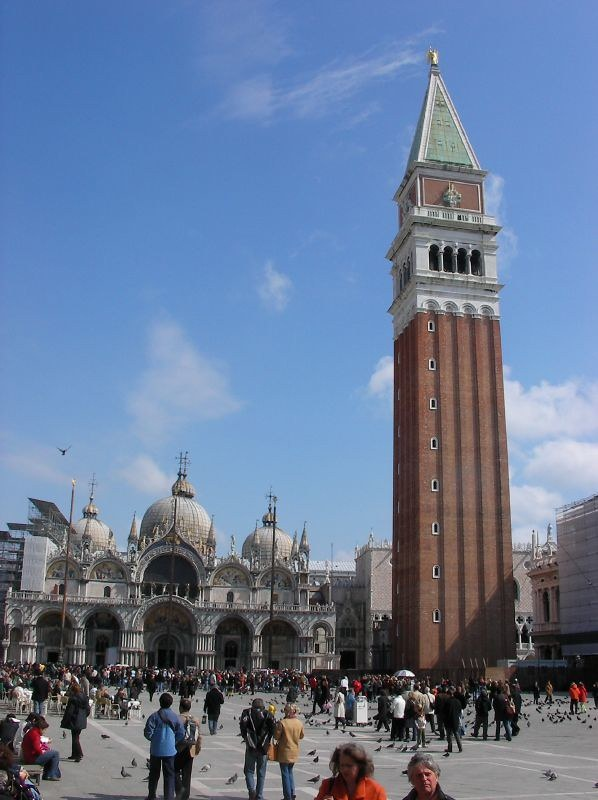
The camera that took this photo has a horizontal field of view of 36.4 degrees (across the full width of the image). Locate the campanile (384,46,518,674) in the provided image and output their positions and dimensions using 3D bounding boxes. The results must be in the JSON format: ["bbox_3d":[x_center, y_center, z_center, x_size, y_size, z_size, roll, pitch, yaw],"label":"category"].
[{"bbox_3d":[10.272,-5.494,64.461,8.063,47.687,5.878,-5,-18,19],"label":"campanile"}]
